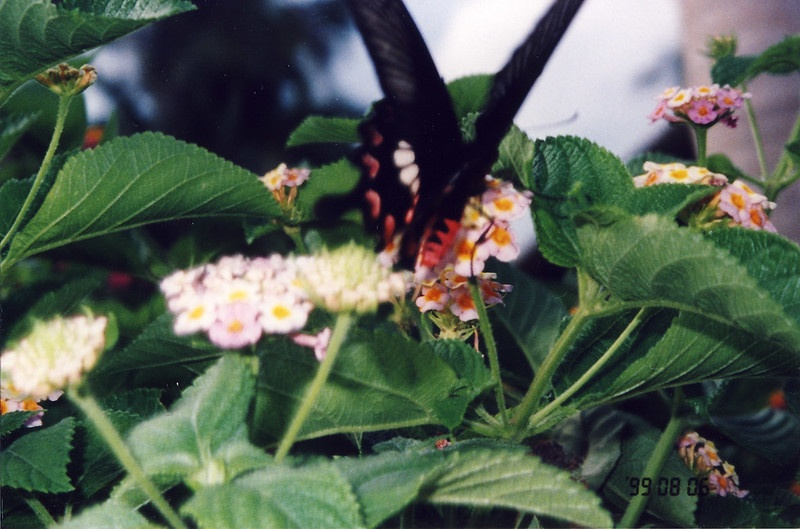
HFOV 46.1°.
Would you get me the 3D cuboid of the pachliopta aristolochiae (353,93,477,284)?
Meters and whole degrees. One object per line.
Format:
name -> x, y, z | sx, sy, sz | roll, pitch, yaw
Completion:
pachliopta aristolochiae -> 0.020, -0.132, 1.490 | 0.209, 0.263, 0.047 | -6, -1, 26
